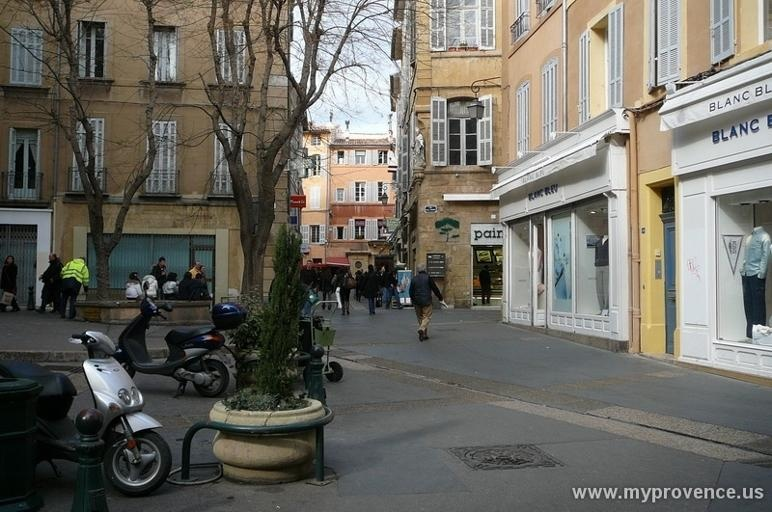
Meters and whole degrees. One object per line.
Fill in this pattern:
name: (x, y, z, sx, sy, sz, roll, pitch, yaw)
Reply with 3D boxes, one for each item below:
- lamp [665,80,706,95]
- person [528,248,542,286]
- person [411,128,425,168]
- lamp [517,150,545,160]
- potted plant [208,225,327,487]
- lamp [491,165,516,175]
lamp: (6.404, -3.652, 17.934, 0.376, 0.333, 0.902, 2, -2, -25)
person: (4.472, 0.301, 24.712, 0.249, 0.873, 0.621, 11, -9, -38)
person: (1.365, -4.530, 35.172, 0.413, 1.764, 0.569, 1, -2, 1)
lamp: (4.299, -3.018, 24.918, 0.099, 0.211, 1.217, -7, 5, -28)
potted plant: (-1.519, 1.356, 11.853, 1.161, 3.541, 1.572, -1, -2, 39)
lamp: (3.755, -2.877, 27.597, 0.375, 0.199, 1.712, 1, -2, -6)
